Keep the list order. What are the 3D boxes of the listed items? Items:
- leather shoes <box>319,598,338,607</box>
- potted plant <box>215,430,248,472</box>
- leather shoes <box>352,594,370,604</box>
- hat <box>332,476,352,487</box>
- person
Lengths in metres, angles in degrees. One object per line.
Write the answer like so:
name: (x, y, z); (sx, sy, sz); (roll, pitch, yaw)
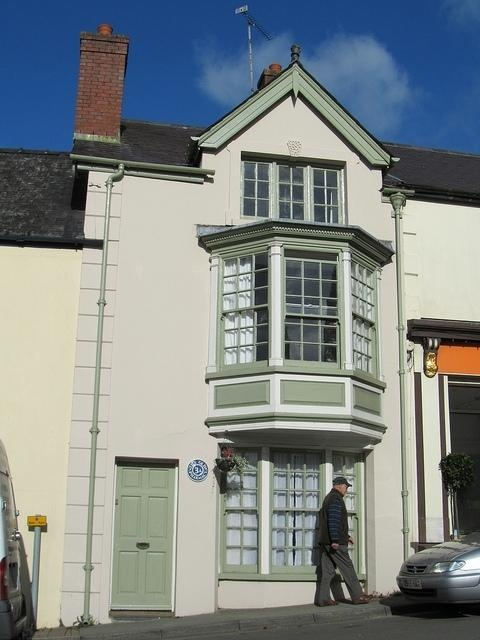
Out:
leather shoes: (1.215, 3.958, 14.352); (0.281, 0.119, 0.103); (-1, -7, -23)
potted plant: (-0.107, 2.004, 15.218); (0.448, 0.483, 0.658); (-11, -17, 40)
leather shoes: (1.676, 3.865, 14.225); (0.291, 0.132, 0.097); (-7, 4, -26)
hat: (1.505, 2.329, 14.885); (0.287, 0.169, 0.205); (1, -6, -17)
person: (1.393, 3.133, 14.647); (0.610, 1.838, 1.048); (1, -13, -3)
